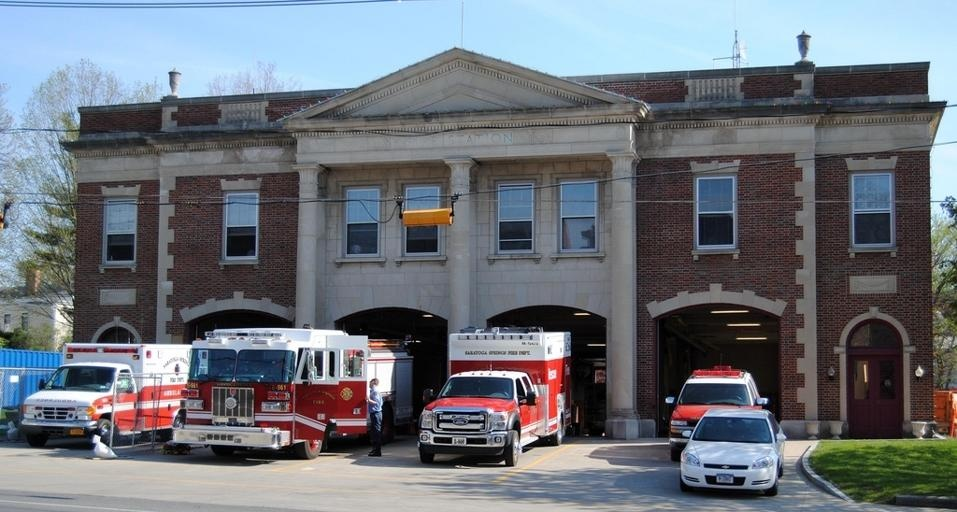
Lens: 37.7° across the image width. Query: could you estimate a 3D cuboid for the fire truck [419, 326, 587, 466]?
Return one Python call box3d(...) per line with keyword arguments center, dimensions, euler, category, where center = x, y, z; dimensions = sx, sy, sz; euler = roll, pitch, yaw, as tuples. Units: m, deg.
box3d(center=(0.762, 6.356, 65.358), dimensions=(5.289, 5.157, 11.014), euler=(3, 2, 16), category="fire truck")
